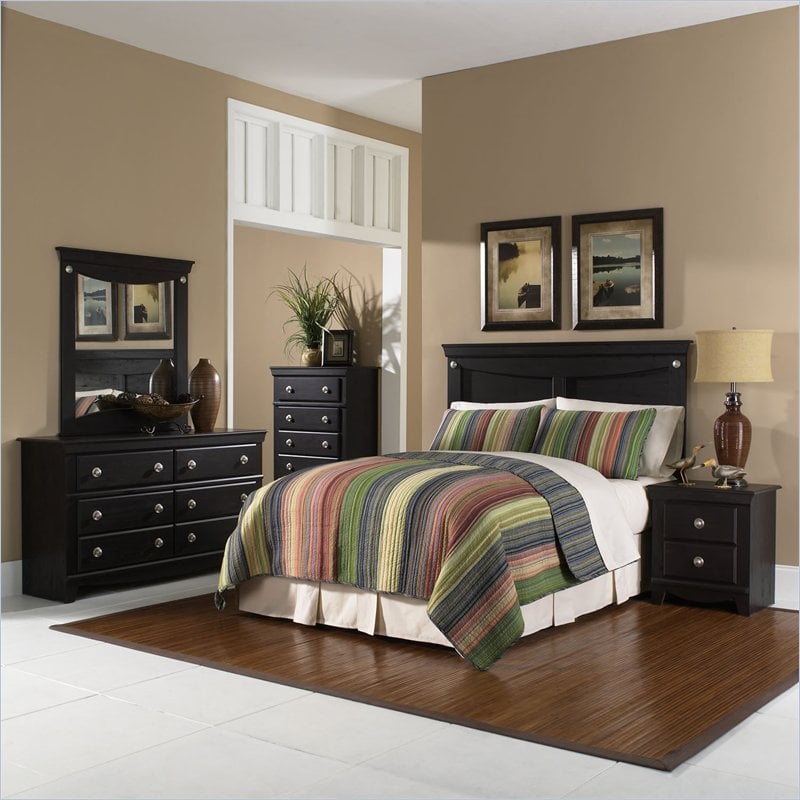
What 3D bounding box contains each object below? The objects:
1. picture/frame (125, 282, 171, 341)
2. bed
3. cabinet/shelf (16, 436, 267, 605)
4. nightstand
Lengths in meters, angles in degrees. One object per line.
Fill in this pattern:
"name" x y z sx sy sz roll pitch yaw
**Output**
"picture/frame" -1.558 -0.543 4.407 0.032 0.437 0.372 -2 -2 39
"bed" 0.466 0.455 3.698 1.556 1.256 2.003 0 0 39
"cabinet/shelf" -1.437 0.655 3.849 0.296 0.564 0.855 0 1 36
"nightstand" 1.577 0.730 3.641 0.553 0.554 0.423 -3 -6 39
